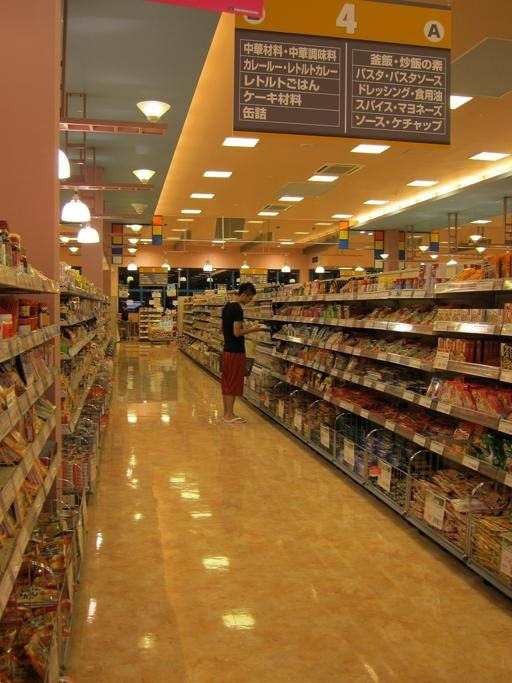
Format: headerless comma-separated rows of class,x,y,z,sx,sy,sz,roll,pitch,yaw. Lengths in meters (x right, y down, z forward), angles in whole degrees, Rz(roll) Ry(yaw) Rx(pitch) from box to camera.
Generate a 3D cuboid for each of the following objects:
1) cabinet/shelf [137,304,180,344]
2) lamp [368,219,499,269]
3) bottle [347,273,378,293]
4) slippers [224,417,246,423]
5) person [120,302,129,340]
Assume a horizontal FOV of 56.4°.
cabinet/shelf,-4.574,-0.811,22.581,2.092,1.786,0.631,0,-4,2
lamp,4.789,-2.801,13.218,3.835,0.865,1.556,1,-7,-6
bottle,1.034,-0.580,4.679,0.223,0.089,0.295,-5,4,-39
slippers,-0.291,1.081,6.639,0.229,0.057,0.110,-1,3,-7
person,-6.826,-1.133,24.769,0.393,1.941,0.647,-1,8,-16
